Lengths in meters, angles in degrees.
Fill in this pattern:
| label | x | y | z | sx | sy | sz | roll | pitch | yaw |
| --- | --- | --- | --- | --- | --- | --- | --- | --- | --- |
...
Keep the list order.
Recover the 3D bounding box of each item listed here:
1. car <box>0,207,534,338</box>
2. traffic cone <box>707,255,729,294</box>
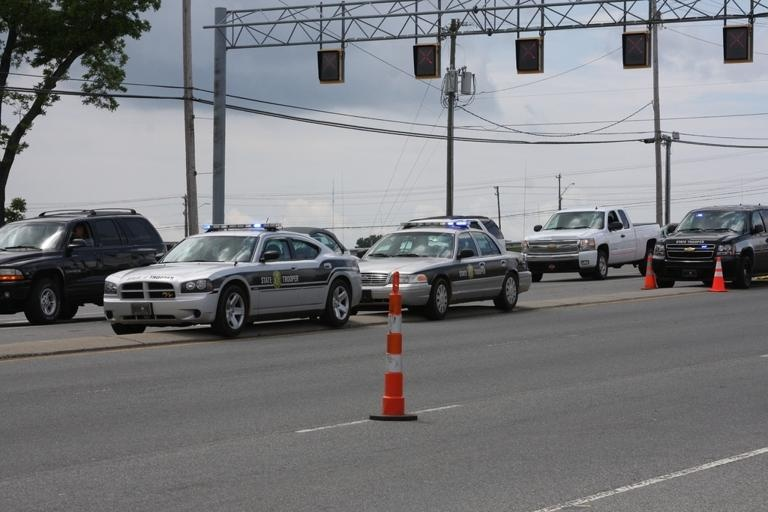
| label | x | y | z | sx | sy | sz | roll | pitch | yaw |
| --- | --- | --- | --- | --- | --- | --- | --- | --- | --- |
| car | -1.320 | 0.364 | 17.761 | 9.250 | 2.253 | 2.459 | -3 | 4 | -34 |
| traffic cone | 10.072 | 0.536 | 24.304 | 0.461 | 1.020 | 0.772 | 1 | 3 | 23 |
